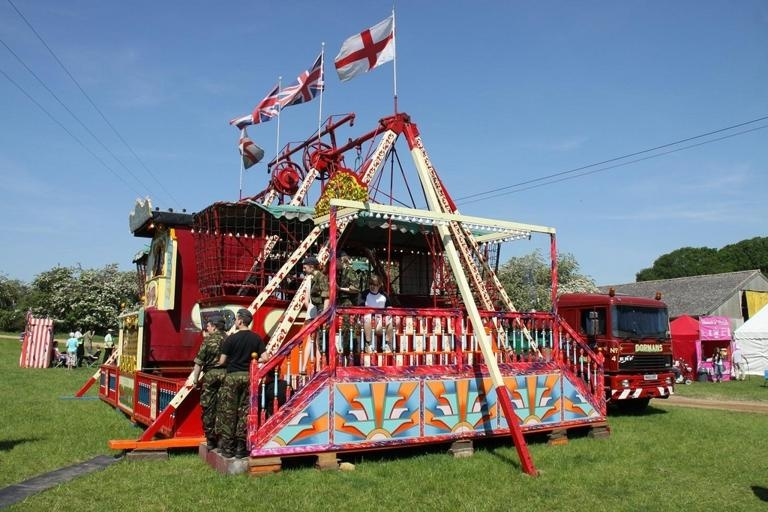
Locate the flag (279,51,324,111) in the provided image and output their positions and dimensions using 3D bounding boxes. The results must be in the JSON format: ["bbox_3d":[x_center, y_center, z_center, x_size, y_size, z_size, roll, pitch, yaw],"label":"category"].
[{"bbox_3d":[-3.386,-7.019,22.937,2.262,2.106,0.234,3,4,31],"label":"flag"}]

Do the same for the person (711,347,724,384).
[{"bbox_3d":[18.618,6.043,32.105,0.543,1.601,1.559,0,-2,31],"label":"person"}]

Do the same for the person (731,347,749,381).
[{"bbox_3d":[20.621,6.226,33.441,0.725,1.539,2.333,0,-2,32],"label":"person"}]

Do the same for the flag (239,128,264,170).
[{"bbox_3d":[-5.380,-4.391,23.154,1.018,2.495,0.151,-19,-34,-5],"label":"flag"}]

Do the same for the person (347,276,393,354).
[{"bbox_3d":[-0.251,1.424,13.388,0.935,2.014,1.102,-6,20,-1],"label":"person"}]

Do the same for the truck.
[{"bbox_3d":[7.975,3.441,21.962,3.464,3.855,5.939,1,-5,-15],"label":"truck"}]
